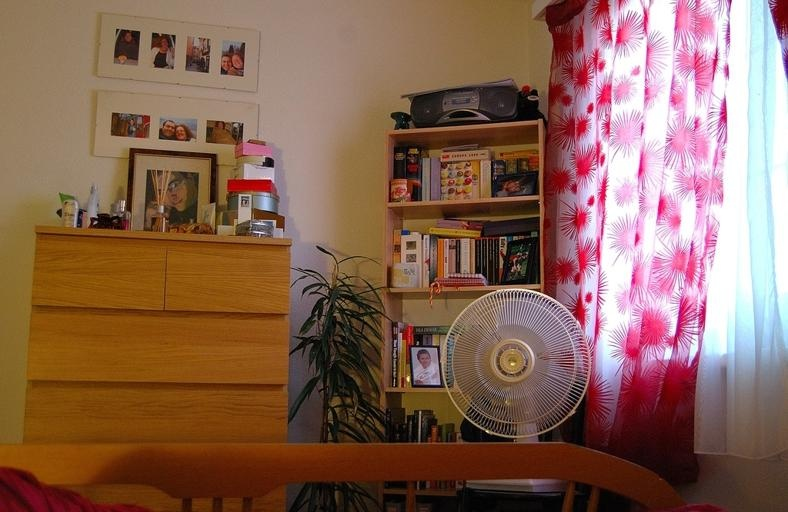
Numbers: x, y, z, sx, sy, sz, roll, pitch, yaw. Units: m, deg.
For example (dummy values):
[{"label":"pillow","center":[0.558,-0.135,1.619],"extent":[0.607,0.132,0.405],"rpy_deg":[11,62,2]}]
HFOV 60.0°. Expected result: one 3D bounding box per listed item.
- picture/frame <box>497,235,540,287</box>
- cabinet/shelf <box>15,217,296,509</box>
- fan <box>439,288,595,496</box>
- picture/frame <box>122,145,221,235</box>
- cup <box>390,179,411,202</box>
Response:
[{"label":"picture/frame","center":[0.726,0.040,3.829],"extent":[0.154,0.283,0.219],"rpy_deg":[17,-16,-38]},{"label":"cabinet/shelf","center":[-1.108,0.505,3.208],"extent":[1.395,1.413,0.538],"rpy_deg":[2,-9,-10]},{"label":"fan","center":[0.506,0.584,3.164],"extent":[0.655,0.832,0.488],"rpy_deg":[5,-11,-1]},{"label":"picture/frame","center":[-1.311,-0.374,3.955],"extent":[0.529,0.620,0.041],"rpy_deg":[-1,-7,-8]},{"label":"cup","center":[0.045,-0.384,4.010],"extent":[0.120,0.120,0.122],"rpy_deg":[0,-7,0]}]
